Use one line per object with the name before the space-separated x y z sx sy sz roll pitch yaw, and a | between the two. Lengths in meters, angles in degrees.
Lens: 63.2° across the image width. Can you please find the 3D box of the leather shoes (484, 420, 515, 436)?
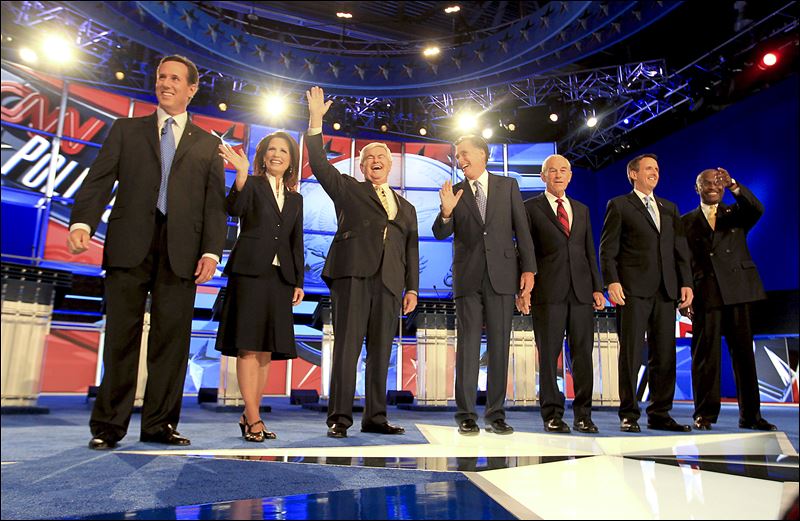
leather shoes | 0.826 1.393 5.431 0.228 0.112 0.098 -1 -11 9

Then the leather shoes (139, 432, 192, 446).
leather shoes | -1.706 1.296 4.788 0.384 0.140 0.126 -1 -14 1

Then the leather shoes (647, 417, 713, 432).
leather shoes | 2.535 1.476 5.859 0.627 0.105 0.288 2 -11 -9

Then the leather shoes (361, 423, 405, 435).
leather shoes | -0.152 1.424 5.481 0.339 0.127 0.124 -3 -16 10

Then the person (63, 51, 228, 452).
person | -1.881 -0.097 4.853 1.057 2.898 0.569 5 -12 -21

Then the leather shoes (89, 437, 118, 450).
leather shoes | -2.121 1.287 4.609 0.152 0.052 0.084 2 -3 -24

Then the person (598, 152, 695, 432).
person | 2.223 0.243 5.995 0.737 2.567 0.376 7 -13 -29

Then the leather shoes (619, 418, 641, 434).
leather shoes | 2.015 1.435 5.681 0.168 0.108 0.224 -3 -12 18

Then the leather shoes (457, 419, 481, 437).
leather shoes | 0.561 1.391 5.400 0.162 0.113 0.273 1 -6 3

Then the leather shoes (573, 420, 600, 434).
leather shoes | 1.584 1.413 5.574 0.150 0.105 0.202 3 -11 -11

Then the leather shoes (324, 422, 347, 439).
leather shoes | -0.515 1.369 5.239 0.120 0.078 0.181 2 -7 -4

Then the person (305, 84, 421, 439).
person | -0.362 0.055 5.596 1.272 2.820 0.473 11 -15 -41

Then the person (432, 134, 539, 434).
person | 0.795 0.172 5.623 0.700 2.572 0.229 1 -11 -2

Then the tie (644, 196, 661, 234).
tie | 2.326 -0.434 6.135 0.188 0.305 0.076 -2 -15 -28

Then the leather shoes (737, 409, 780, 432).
leather shoes | 3.261 1.482 5.991 0.414 0.229 0.135 -4 -14 10
